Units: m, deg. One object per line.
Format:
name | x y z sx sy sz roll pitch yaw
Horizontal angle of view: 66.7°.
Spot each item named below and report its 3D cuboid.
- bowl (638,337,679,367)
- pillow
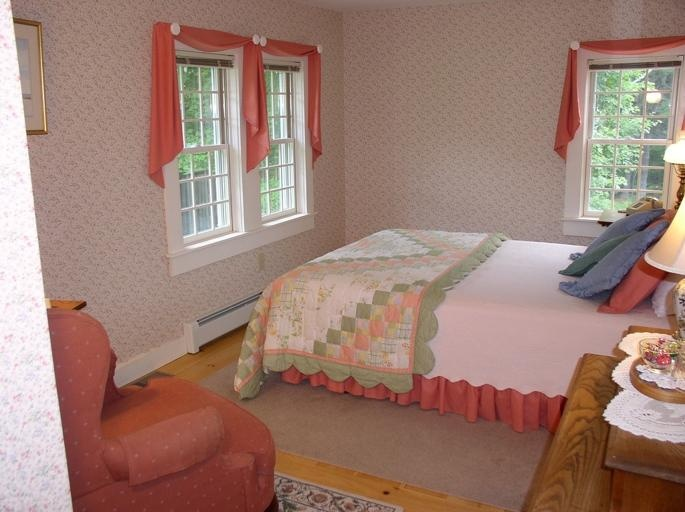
bowl | 1.123 0.340 1.863 0.109 0.070 0.114 -3 1 0
pillow | 1.752 -0.014 3.440 0.618 0.570 0.854 8 14 28
